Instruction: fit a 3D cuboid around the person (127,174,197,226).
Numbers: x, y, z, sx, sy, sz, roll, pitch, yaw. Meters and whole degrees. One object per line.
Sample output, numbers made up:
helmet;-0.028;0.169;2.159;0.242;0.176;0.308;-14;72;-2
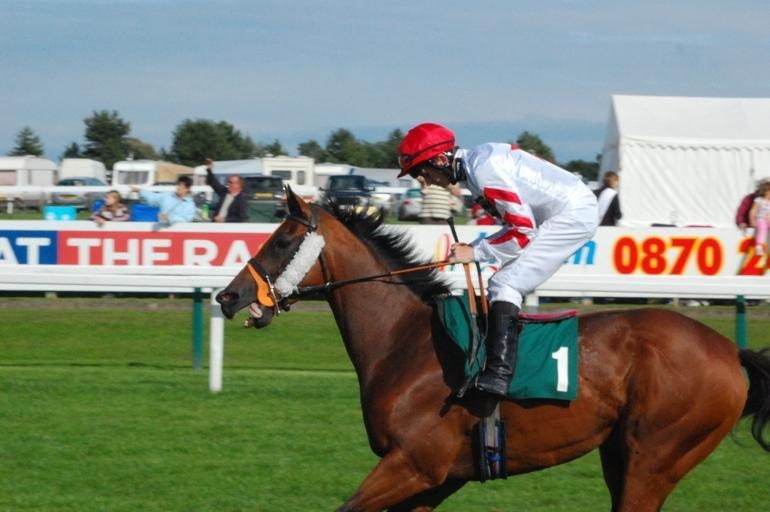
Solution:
person;-2.576;-0.673;19.597;0.630;0.511;0.842;0;8;-8

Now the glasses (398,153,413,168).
glasses;0.193;-0.850;14.973;0.134;0.101;0.120;-1;6;6
